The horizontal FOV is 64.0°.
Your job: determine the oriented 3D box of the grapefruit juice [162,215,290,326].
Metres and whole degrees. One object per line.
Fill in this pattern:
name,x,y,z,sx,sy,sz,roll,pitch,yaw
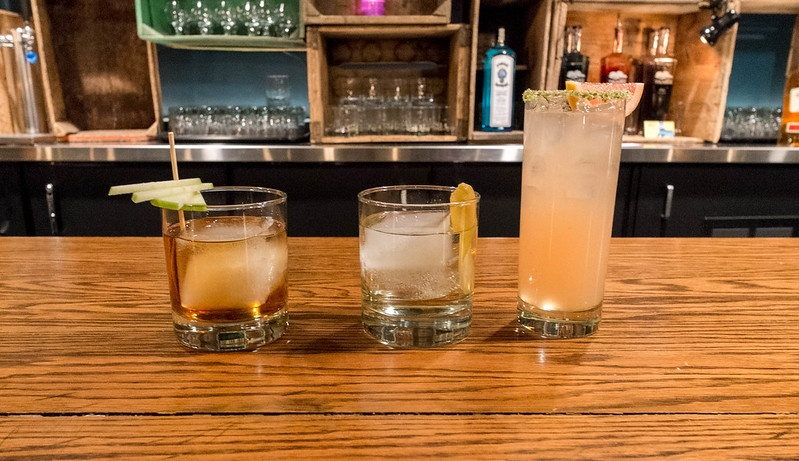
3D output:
grapefruit juice,-0.327,0.082,1.429,0.258,0.221,0.267,0,5,-2

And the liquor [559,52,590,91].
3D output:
liquor,0.827,-0.757,3.021,0.125,0.169,0.203,4,16,14

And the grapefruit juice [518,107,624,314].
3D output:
grapefruit juice,0.348,-0.043,1.378,0.251,0.401,0.243,-2,15,-9

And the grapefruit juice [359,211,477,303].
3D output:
grapefruit juice,0.032,0.049,1.450,0.283,0.176,0.190,-1,14,-6

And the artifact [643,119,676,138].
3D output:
artifact,1.254,-0.485,3.082,0.144,0.078,0.106,1,15,6
